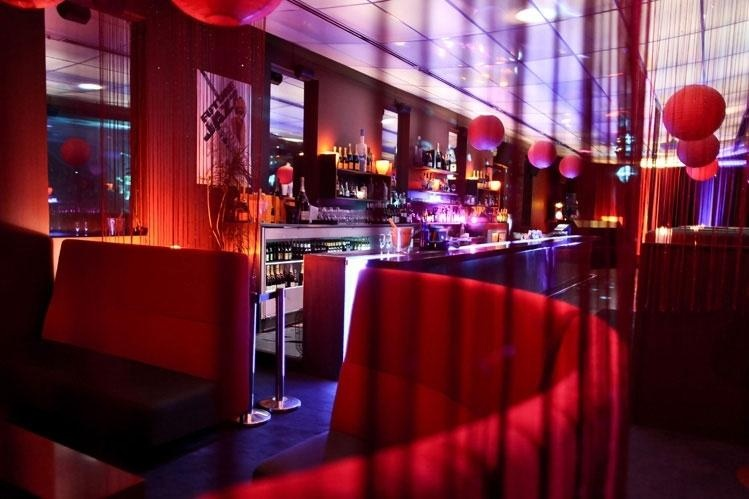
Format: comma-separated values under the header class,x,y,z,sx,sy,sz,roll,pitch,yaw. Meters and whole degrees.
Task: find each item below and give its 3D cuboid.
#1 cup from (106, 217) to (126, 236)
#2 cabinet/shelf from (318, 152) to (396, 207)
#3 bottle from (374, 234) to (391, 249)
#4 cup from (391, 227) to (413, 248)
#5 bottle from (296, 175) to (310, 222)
class,x,y,z,sx,sy,sz,roll,pitch,yaw
cup,-2.503,-0.228,5.424,0.149,0.177,0.158,3,-3,0
cabinet/shelf,-0.274,-1.001,8.204,0.321,0.755,1.290,3,6,41
bottle,0.131,-0.120,7.547,0.194,0.323,0.198,2,2,0
cup,0.216,-0.124,5.516,0.262,0.227,0.237,-1,0,23
bottle,-0.889,-0.644,7.094,0.156,0.560,0.352,-1,4,-8
